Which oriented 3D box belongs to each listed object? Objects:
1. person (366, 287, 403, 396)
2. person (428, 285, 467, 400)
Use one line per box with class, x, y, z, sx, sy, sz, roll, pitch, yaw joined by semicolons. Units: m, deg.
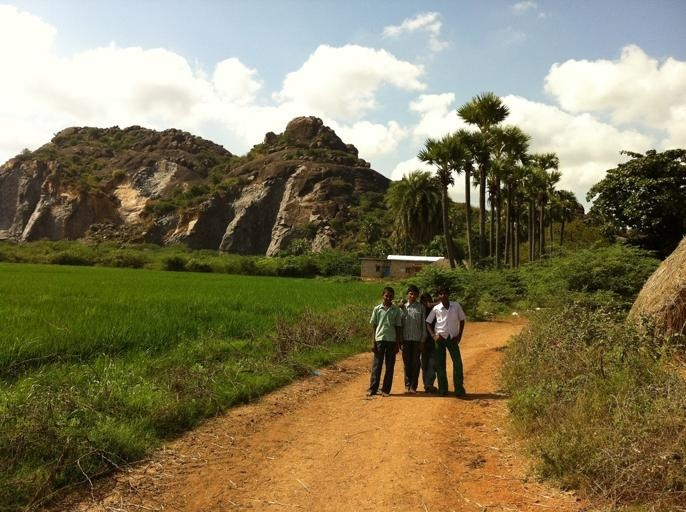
person;0.992;2.143;13.113;0.918;2.708;0.651;-3;11;-3
person;2.534;2.089;13.230;0.896;2.615;1.268;0;11;11
